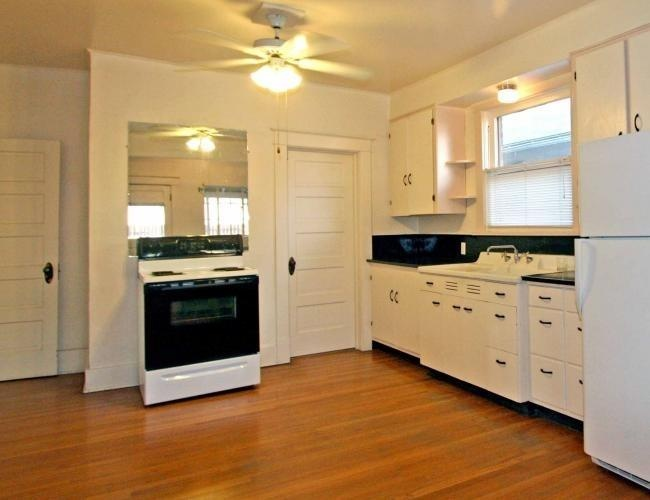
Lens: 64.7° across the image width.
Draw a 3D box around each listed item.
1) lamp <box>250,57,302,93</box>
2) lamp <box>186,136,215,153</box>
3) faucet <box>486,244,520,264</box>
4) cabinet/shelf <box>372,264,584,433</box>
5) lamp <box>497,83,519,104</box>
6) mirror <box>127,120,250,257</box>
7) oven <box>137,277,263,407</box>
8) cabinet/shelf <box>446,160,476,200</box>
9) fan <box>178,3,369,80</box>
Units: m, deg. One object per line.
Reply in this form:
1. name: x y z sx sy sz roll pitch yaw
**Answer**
1. lamp: -0.371 -1.295 3.819 0.346 0.209 0.220 -2 12 -7
2. lamp: -1.191 -0.951 4.877 0.177 0.173 0.053 17 -26 -17
3. faucet: 1.679 0.034 4.786 0.146 0.157 0.398 -5 12 -22
4. cabinet/shelf: 1.357 0.618 4.549 0.601 1.108 2.104 -9 14 -36
5. lamp: 1.606 -1.353 4.538 0.167 0.155 0.169 1 3 13
6. mirror: -1.327 -0.559 4.754 1.318 1.455 0.052 -1 2 -24
7. oven: -1.187 0.752 4.663 1.095 1.053 0.780 -1 -1 -38
8. cabinet/shelf: 1.317 -0.693 5.249 0.242 0.437 0.450 -9 11 -33
9. fan: -0.364 -1.537 3.927 1.267 0.640 1.283 -3 12 -14
